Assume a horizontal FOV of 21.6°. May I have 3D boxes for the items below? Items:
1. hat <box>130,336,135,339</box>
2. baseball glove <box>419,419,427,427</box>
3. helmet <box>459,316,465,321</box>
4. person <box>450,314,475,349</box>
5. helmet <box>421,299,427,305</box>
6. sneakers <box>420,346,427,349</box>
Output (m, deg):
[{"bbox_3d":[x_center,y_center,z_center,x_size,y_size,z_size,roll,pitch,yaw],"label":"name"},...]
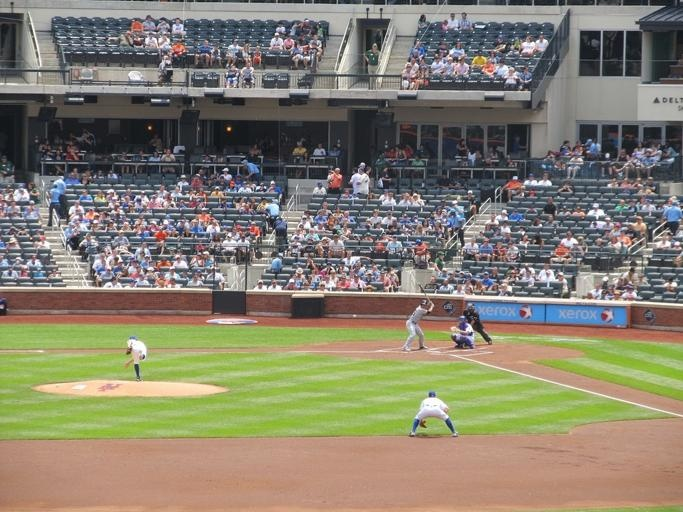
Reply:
[{"bbox_3d":[-6.809,2.710,58.075,0.239,0.088,0.252,1,1,2],"label":"hat"},{"bbox_3d":[2.426,5.241,54.750,0.286,0.273,0.226,3,8,13],"label":"baseball glove"},{"bbox_3d":[4.169,2.239,62.622,0.190,0.139,0.315,4,-5,44],"label":"helmet"},{"bbox_3d":[4.286,2.749,62.478,0.986,1.350,1.062,4,-5,-23],"label":"person"},{"bbox_3d":[2.840,1.668,62.337,0.171,0.079,0.240,0,6,10],"label":"helmet"},{"bbox_3d":[2.822,3.230,62.006,0.244,0.085,0.160,-4,-9,-3],"label":"sneakers"}]
